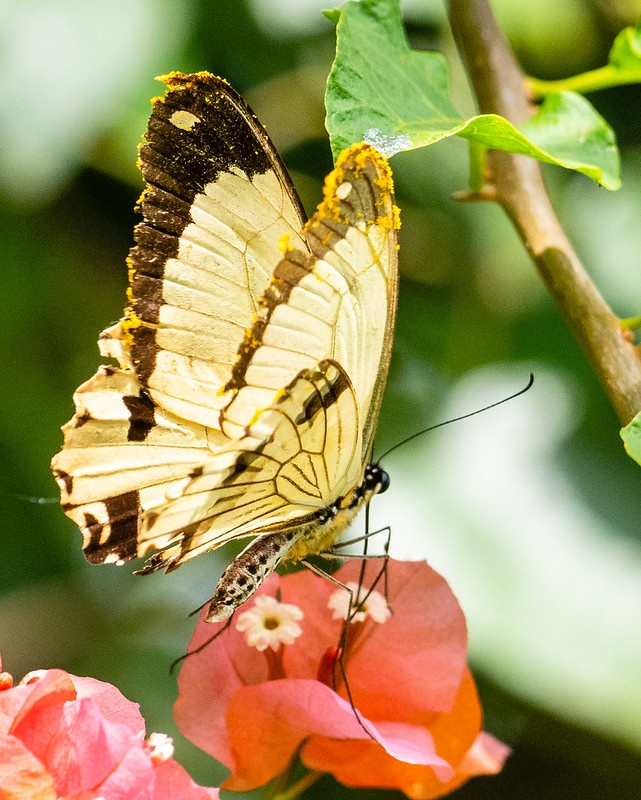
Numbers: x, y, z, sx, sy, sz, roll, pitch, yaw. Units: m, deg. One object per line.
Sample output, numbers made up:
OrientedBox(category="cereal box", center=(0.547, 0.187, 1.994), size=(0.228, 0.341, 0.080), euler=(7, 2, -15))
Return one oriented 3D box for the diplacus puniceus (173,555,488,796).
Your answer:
OrientedBox(category="diplacus puniceus", center=(0.045, 0.257, 0.886), size=(0.265, 0.251, 0.124), euler=(9, 88, -36))
